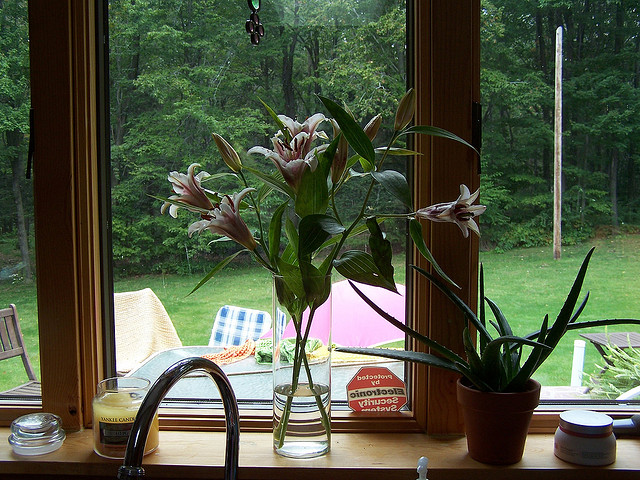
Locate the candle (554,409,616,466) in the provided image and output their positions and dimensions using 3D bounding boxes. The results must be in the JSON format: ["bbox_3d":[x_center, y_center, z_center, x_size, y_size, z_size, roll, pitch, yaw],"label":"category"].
[{"bbox_3d":[0.642,0.490,1.467,0.181,0.106,0.156,0,1,-7],"label":"candle"}]

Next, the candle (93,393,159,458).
[{"bbox_3d":[-0.507,0.454,1.502,0.168,0.179,0.191,0,1,-4],"label":"candle"}]

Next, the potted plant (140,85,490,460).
[{"bbox_3d":[-0.041,0.104,1.513,0.869,0.867,0.743,-2,5,-44],"label":"potted plant"}]

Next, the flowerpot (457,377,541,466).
[{"bbox_3d":[0.435,0.441,1.434,0.166,0.208,0.176,3,4,3],"label":"flowerpot"}]

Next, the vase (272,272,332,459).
[{"bbox_3d":[-0.053,0.314,1.437,0.117,0.458,0.147,3,3,-11],"label":"vase"}]

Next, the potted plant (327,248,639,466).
[{"bbox_3d":[0.365,0.271,1.555,0.649,0.444,0.630,-1,0,2],"label":"potted plant"}]
